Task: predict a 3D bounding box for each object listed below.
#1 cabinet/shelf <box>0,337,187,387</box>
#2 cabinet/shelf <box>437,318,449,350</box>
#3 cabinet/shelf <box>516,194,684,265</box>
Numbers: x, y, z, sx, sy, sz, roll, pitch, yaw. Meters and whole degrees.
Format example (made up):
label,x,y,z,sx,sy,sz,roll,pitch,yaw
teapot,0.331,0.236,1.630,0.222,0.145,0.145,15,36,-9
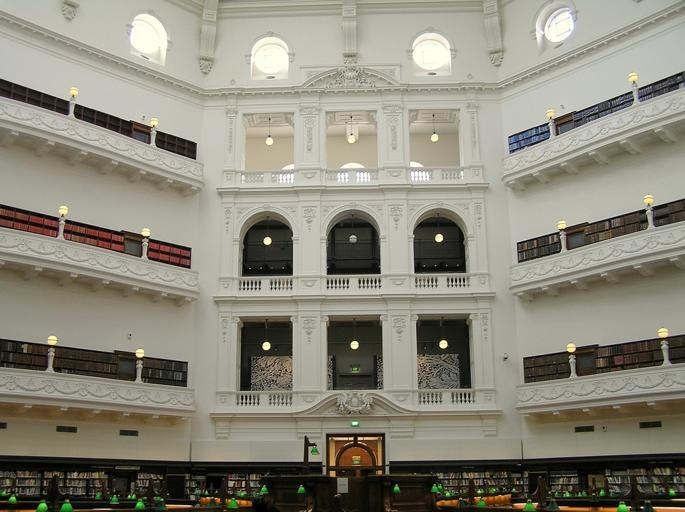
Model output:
label,x,y,z,sx,sy,sz,roll,pitch,yaw
cabinet/shelf,-8.269,3.598,26.450,6.346,1.119,0.544,10,-20,-34
cabinet/shelf,4.115,3.155,32.186,0.427,1.292,2.065,-3,-16,6
cabinet/shelf,8.806,-0.859,27.159,0.324,0.954,6.119,16,-23,-43
